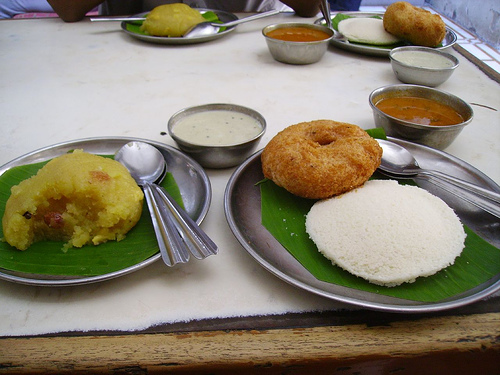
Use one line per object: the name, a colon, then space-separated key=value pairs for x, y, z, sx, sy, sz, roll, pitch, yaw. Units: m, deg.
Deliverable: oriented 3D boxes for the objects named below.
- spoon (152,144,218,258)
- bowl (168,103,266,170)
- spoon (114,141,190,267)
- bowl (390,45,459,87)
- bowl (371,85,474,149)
spoon: x=-0.210 y=0.072 z=1.261 sx=0.114 sy=0.034 sz=0.362 roll=-23 pitch=42 yaw=-20
bowl: x=-0.120 y=-0.136 z=1.507 sx=0.316 sy=0.112 sz=0.286 roll=-8 pitch=24 yaw=6
spoon: x=-0.299 y=0.049 z=1.290 sx=0.121 sy=0.061 sz=0.449 roll=-22 pitch=69 yaw=-12
bowl: x=0.876 y=-0.610 z=2.057 sx=0.312 sy=0.107 sz=0.296 roll=1 pitch=42 yaw=-1
bowl: x=0.679 y=-0.273 z=1.641 sx=0.370 sy=0.145 sz=0.338 roll=2 pitch=40 yaw=-1
